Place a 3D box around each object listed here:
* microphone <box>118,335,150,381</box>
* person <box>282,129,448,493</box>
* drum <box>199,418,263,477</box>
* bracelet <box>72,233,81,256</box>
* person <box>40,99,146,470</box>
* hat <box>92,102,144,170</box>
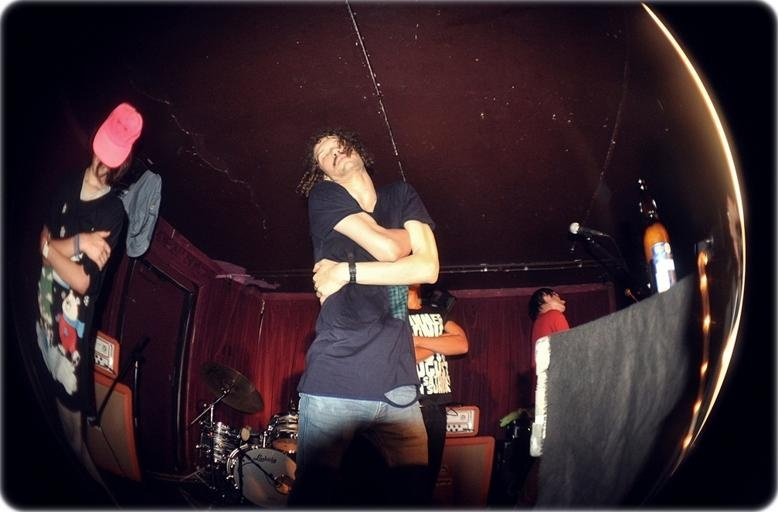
[{"bbox_3d":[-1.435,0.569,3.163,0.061,0.284,0.108,25,7,2],"label":"microphone"},{"bbox_3d":[-0.110,0.272,3.079,0.741,1.607,0.449,2,-1,-10],"label":"person"},{"bbox_3d":[-1.174,1.369,4.060,0.364,0.330,0.488,-11,-23,27],"label":"drum"},{"bbox_3d":[-1.665,-0.053,2.995,0.025,0.087,0.074,3,7,-14],"label":"bracelet"},{"bbox_3d":[-1.675,0.085,3.112,0.512,2.161,0.232,2,-1,-19],"label":"person"},{"bbox_3d":[-1.556,-0.686,3.215,0.219,0.361,0.099,32,-26,-31],"label":"hat"}]
